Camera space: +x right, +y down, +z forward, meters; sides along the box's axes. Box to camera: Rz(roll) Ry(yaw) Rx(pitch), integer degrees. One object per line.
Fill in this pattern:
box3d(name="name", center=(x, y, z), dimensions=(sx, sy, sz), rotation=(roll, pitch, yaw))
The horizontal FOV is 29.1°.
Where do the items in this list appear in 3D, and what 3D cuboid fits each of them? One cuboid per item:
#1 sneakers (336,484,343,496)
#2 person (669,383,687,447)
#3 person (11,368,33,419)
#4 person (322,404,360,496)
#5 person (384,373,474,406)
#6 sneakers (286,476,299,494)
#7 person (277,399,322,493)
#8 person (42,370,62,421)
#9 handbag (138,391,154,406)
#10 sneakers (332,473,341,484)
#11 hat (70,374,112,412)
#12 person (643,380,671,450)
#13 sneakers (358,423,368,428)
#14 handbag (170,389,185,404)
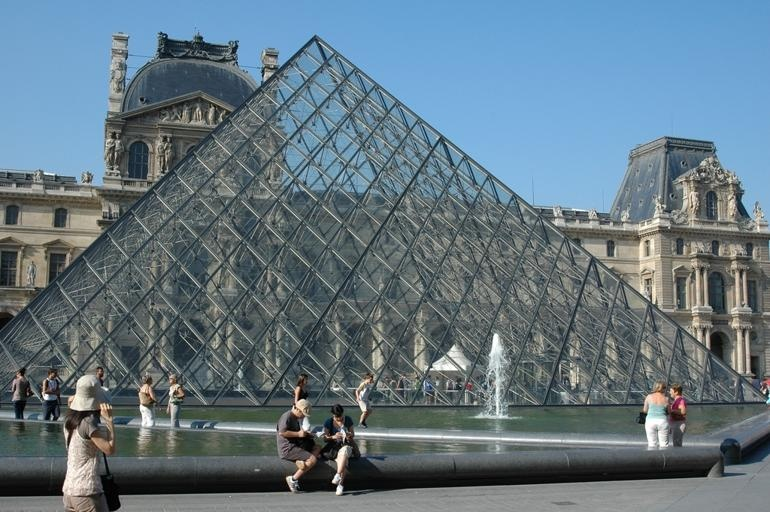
box3d(name="sneakers", center=(-1.432, 7.436, 47.639), dimensions=(0.284, 0.355, 0.215), rotation=(3, -8, -18))
box3d(name="person", center=(9.904, 5.353, 50.272), dimensions=(0.466, 2.060, 0.782), rotation=(-1, -8, 10))
box3d(name="person", center=(-13.537, 5.084, 55.207), dimensions=(0.574, 1.873, 1.126), rotation=(2, -7, -12))
box3d(name="person", center=(-1.426, 6.219, 48.031), dimensions=(1.207, 2.861, 0.685), rotation=(-1, -8, 12))
box3d(name="person", center=(1.676, 5.307, 58.388), dimensions=(2.469, 0.581, 1.570), rotation=(1, 24, -2))
box3d(name="sneakers", center=(-2.961, 7.293, 47.828), dimensions=(0.318, 0.618, 0.247), rotation=(-22, -2, 8))
box3d(name="person", center=(-2.822, 6.080, 47.942), dimensions=(1.308, 2.943, 0.525), rotation=(2, -8, -7))
box3d(name="person", center=(-12.383, 5.117, 54.973), dimensions=(0.602, 1.867, 0.902), rotation=(1, -7, -6))
box3d(name="handbag", center=(-8.584, 5.098, 53.331), dimensions=(0.405, 0.478, 0.581), rotation=(5, -8, -34))
box3d(name="sneakers", center=(-1.570, 7.104, 47.634), dimensions=(0.165, 0.427, 0.207), rotation=(14, 9, 31))
box3d(name="hat", center=(-9.073, 4.064, 45.042), dimensions=(1.178, 0.636, 1.174), rotation=(-6, 29, -23))
box3d(name="person", center=(9.092, 5.292, 49.672), dimensions=(0.860, 2.182, 0.711), rotation=(-1, -8, 11))
box3d(name="sneakers", center=(-0.789, 6.044, 53.026), dimensions=(0.133, 0.142, 0.367), rotation=(4, -10, -29))
box3d(name="handbag", center=(-7.467, 5.029, 53.216), dimensions=(0.586, 0.206, 0.436), rotation=(-21, -14, 33))
